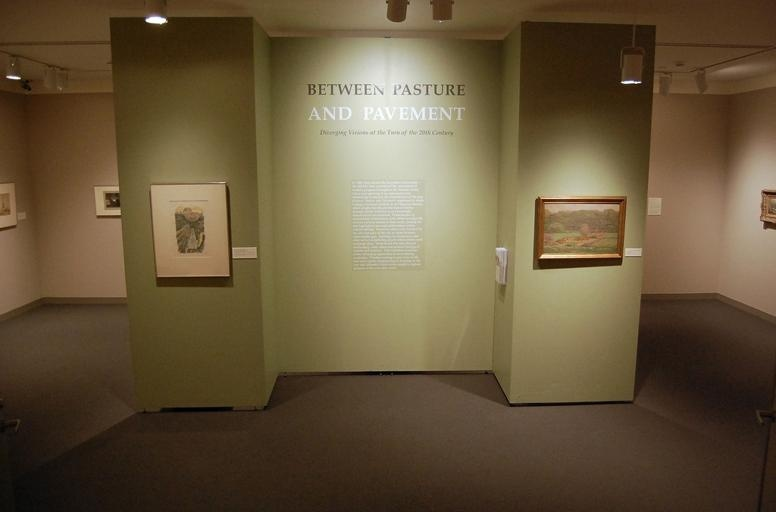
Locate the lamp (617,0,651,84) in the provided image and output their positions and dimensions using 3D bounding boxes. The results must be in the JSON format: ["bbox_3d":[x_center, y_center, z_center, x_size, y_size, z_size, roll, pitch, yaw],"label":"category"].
[{"bbox_3d":[3.017,-2.579,6.917,0.249,1.004,0.121,3,-20,31],"label":"lamp"}]

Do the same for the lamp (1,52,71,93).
[{"bbox_3d":[-5.785,-2.983,9.230,0.994,0.435,1.912,-5,14,-29],"label":"lamp"}]

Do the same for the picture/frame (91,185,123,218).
[{"bbox_3d":[-5.033,-1.014,10.087,0.713,0.771,0.055,1,6,-3],"label":"picture/frame"}]

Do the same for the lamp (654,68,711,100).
[{"bbox_3d":[5.158,-3.073,9.897,0.839,0.321,0.837,0,3,39],"label":"lamp"}]
